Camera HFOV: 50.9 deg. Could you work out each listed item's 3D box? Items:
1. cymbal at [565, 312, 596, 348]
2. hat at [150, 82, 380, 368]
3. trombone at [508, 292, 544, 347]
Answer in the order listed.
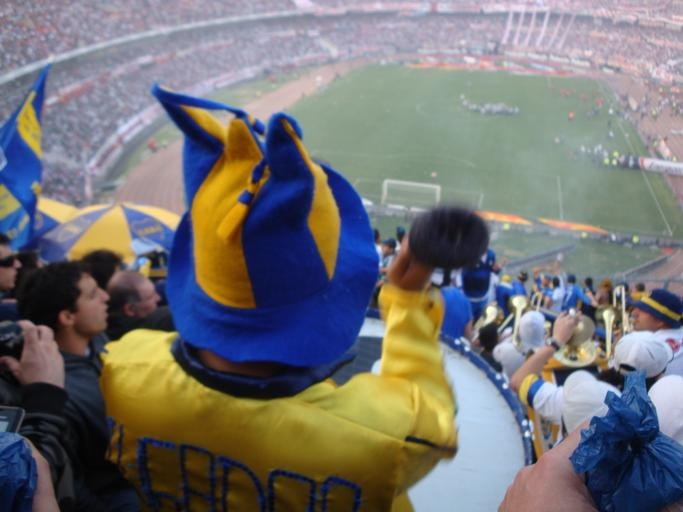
[{"bbox_3d":[1.565,0.501,4.660,0.233,0.199,0.118,5,4,-25],"label":"cymbal"},{"bbox_3d":[-0.337,-0.253,3.007,0.990,1.054,0.904,32,45,31],"label":"hat"},{"bbox_3d":[1.431,0.438,5.753,0.161,0.614,0.106,2,12,7],"label":"trombone"}]
